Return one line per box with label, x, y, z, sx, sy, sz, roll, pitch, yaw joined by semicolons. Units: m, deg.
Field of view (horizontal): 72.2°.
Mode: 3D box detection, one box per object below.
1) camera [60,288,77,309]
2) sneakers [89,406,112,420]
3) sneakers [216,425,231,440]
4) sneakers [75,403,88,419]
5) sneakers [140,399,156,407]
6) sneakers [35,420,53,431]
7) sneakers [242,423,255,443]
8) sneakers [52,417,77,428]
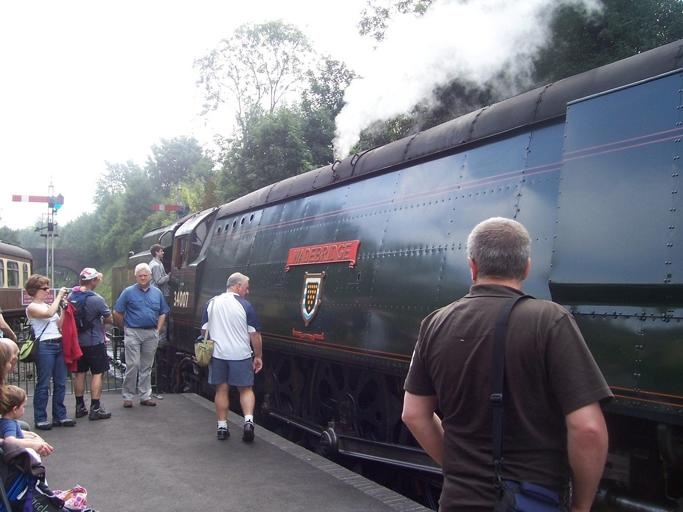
camera;-3.754;0.589;6.410;0.256;0.271;0.080;1;-16;34
sneakers;-3.529;2.313;6.878;0.389;0.195;0.134;1;0;-32
sneakers;-1.495;2.239;5.862;0.082;0.099;0.227;2;-1;-5
sneakers;-3.876;2.317;6.935;0.089;0.120;0.269;1;-1;-5
sneakers;-3.158;2.398;7.635;0.274;0.117;0.105;-3;-6;24
sneakers;-3.891;2.228;6.104;0.250;0.112;0.092;-14;-15;40
sneakers;-1.149;2.186;5.764;0.107;0.112;0.267;3;-45;-4
sneakers;-3.782;2.275;6.411;0.309;0.146;0.114;0;2;-17
